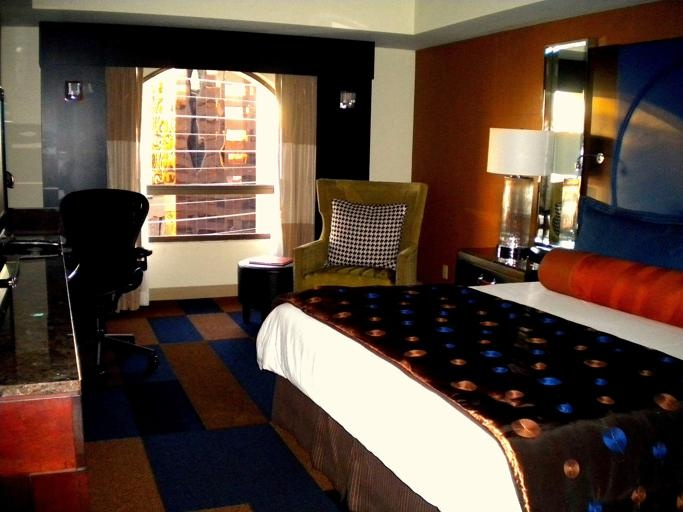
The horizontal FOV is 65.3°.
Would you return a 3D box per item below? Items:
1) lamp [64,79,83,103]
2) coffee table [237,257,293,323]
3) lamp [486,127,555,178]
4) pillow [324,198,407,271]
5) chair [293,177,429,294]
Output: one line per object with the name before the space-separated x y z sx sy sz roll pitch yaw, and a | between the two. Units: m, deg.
lamp | -2.370 -1.451 4.704 0.169 0.159 0.040 -6 0 -24
coffee table | -0.669 0.362 4.816 0.508 0.465 0.449 7 3 21
lamp | 1.347 -0.735 4.001 0.400 0.279 0.389 2 4 -13
pillow | 0.314 -0.135 4.581 0.766 0.699 0.195 -12 -22 30
chair | 0.170 -0.122 4.593 1.018 0.928 0.847 3 11 17
